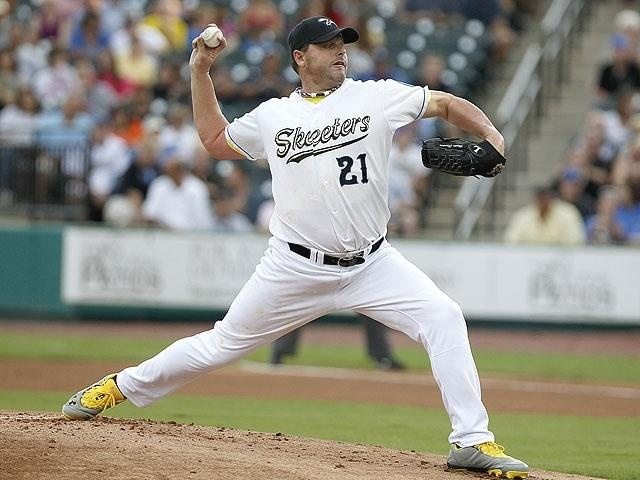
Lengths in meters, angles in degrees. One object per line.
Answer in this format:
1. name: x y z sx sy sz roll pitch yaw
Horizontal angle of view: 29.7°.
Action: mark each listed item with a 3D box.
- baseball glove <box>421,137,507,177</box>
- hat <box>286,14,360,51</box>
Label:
1. baseball glove: 1.224 -0.721 10.455 0.588 0.237 0.358 6 56 2
2. hat: -0.010 -1.815 10.702 0.485 0.241 0.332 -14 2 26
